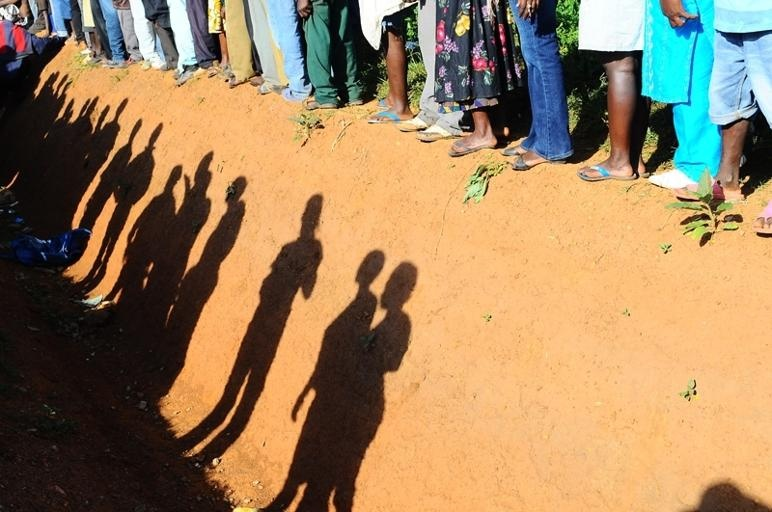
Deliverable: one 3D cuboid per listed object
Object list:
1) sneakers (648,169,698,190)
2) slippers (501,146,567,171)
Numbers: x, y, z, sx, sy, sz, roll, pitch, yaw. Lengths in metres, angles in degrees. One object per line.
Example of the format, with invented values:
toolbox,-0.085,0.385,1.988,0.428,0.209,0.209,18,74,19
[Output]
sneakers,2.712,-0.767,6.343,0.407,0.202,0.158,15,24,41
slippers,1.487,-1.042,7.036,0.463,0.090,0.328,4,46,18
